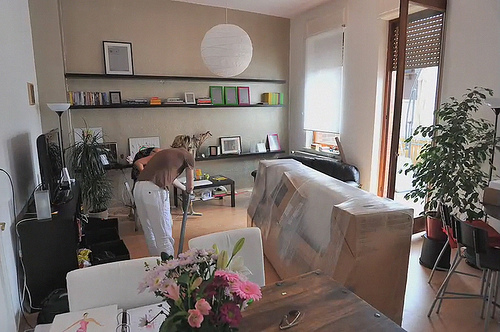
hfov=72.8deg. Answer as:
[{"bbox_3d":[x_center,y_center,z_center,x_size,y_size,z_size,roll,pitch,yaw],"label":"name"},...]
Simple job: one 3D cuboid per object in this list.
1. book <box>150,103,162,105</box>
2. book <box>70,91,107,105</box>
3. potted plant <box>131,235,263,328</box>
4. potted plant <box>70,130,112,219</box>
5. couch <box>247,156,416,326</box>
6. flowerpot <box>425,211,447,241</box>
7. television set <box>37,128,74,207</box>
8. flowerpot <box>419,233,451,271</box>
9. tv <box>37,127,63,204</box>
[{"bbox_3d":[-1.752,-1.163,6.312,0.196,0.037,0.118,-7,11,-20],"label":"book"},{"bbox_3d":[-2.831,-1.194,5.959,0.596,0.221,0.157,-7,11,-21],"label":"book"},{"bbox_3d":[-0.314,0.764,2.549,0.826,0.835,0.687,-3,-9,3],"label":"potted plant"},{"bbox_3d":[-2.653,0.148,5.677,0.509,1.416,0.607,-8,12,-28],"label":"potted plant"},{"bbox_3d":[0.854,0.801,3.594,0.769,0.987,1.705,-1,11,-20],"label":"couch"},{"bbox_3d":[2.428,0.816,4.516,0.264,0.283,0.293,0,3,11],"label":"flowerpot"},{"bbox_3d":[-2.503,0.013,4.320,0.347,0.922,0.958,-4,13,-22],"label":"television set"},{"bbox_3d":[2.448,1.125,4.575,0.410,0.397,0.384,-2,6,-42],"label":"flowerpot"},{"bbox_3d":[-2.562,-0.028,4.271,0.147,0.834,1.131,-14,15,-33],"label":"tv"}]
